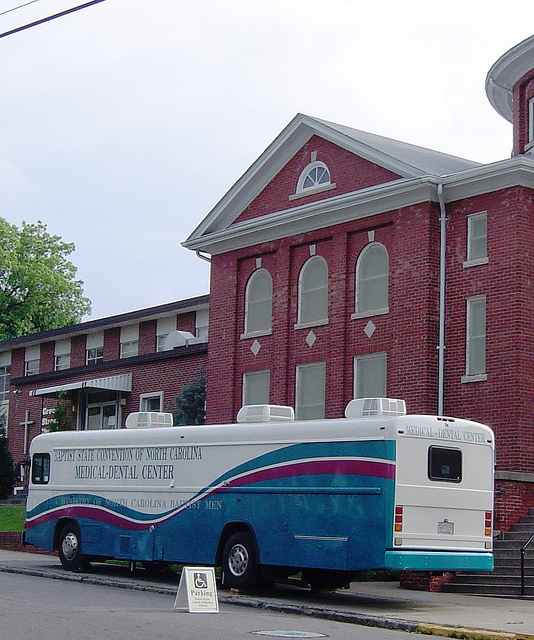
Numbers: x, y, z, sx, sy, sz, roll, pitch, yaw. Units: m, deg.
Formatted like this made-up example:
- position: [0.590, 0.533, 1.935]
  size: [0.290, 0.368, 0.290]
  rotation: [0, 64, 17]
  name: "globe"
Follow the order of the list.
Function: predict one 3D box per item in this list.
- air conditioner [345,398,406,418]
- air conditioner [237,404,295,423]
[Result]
- position: [1.707, 1.349, 14.424]
  size: [0.905, 0.459, 1.298]
  rotation: [0, -12, 6]
  name: "air conditioner"
- position: [-0.014, 1.638, 16.162]
  size: [0.962, 0.336, 0.841]
  rotation: [1, -12, 2]
  name: "air conditioner"
